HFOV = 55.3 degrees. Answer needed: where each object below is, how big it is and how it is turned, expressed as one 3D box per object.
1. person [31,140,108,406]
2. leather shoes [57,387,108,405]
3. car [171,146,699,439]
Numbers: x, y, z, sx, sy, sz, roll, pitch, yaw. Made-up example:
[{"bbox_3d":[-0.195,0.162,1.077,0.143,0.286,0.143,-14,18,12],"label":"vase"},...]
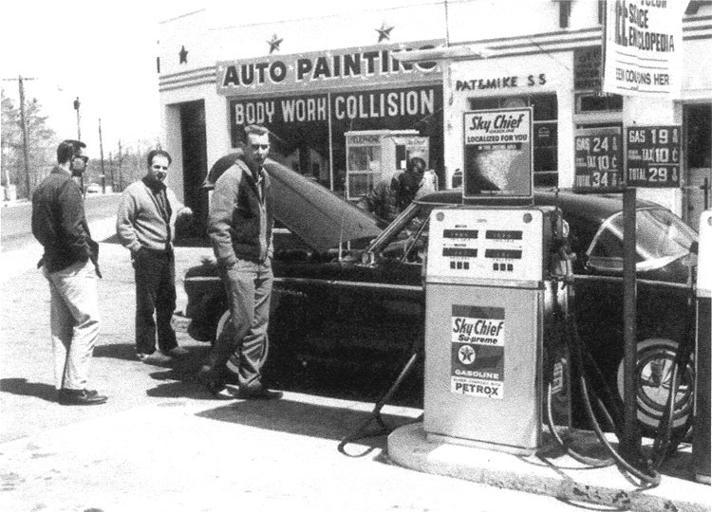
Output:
[{"bbox_3d":[-2.692,0.137,6.465,0.496,2.451,0.714,-5,8,-41],"label":"person"},{"bbox_3d":[-2.566,1.325,6.383,0.393,0.194,0.185,1,6,-10],"label":"leather shoes"},{"bbox_3d":[0.726,0.227,6.299,4.396,2.272,1.836,5,9,31],"label":"car"}]
